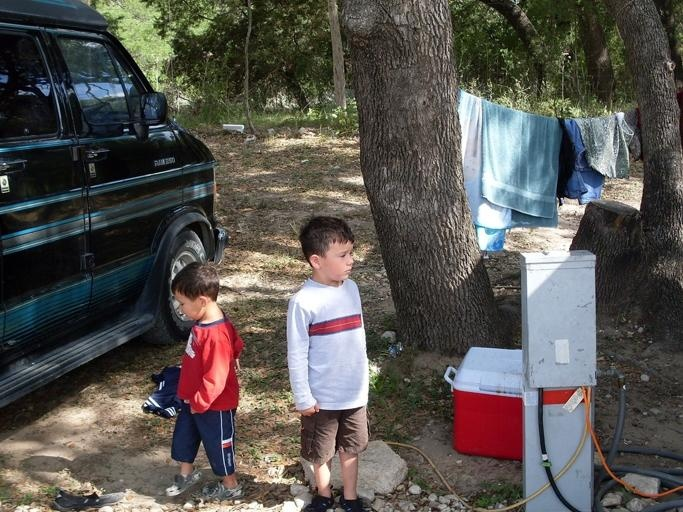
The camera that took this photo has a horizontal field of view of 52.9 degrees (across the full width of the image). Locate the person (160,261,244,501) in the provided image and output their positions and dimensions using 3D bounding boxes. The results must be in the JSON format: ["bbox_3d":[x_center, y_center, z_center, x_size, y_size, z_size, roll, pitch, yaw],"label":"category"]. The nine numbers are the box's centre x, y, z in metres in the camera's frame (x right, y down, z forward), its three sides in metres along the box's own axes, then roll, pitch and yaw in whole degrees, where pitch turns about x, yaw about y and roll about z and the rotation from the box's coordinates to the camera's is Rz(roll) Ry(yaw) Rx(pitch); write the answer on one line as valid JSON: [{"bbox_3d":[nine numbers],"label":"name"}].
[{"bbox_3d":[-0.825,0.737,4.053,0.448,1.411,0.424,-1,13,4],"label":"person"}]

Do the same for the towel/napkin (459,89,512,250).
[{"bbox_3d":[1.369,-0.835,6.586,0.523,1.601,0.384,2,13,15],"label":"towel/napkin"}]

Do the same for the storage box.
[{"bbox_3d":[0.976,0.983,4.536,0.438,0.610,0.477,2,13,16],"label":"storage box"}]

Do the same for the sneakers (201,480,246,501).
[{"bbox_3d":[-0.705,1.423,4.090,0.226,0.095,0.105,3,-2,-7],"label":"sneakers"}]
